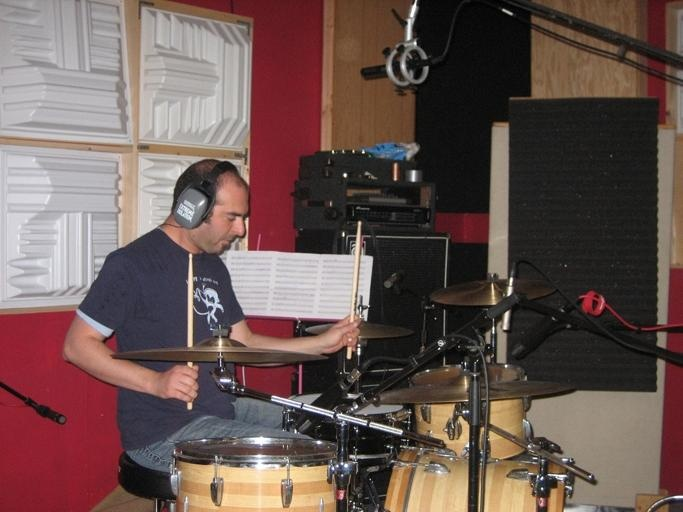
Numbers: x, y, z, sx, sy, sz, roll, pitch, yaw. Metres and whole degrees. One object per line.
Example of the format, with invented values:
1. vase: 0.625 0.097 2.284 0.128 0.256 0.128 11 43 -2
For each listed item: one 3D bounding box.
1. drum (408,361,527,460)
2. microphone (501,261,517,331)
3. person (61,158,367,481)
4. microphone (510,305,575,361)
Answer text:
1. drum: 0.651 0.782 4.044 0.533 0.370 0.561 -1 -7 0
2. microphone: 0.724 0.173 3.495 0.059 0.305 0.407 1 -2 12
3. person: -0.624 0.487 3.865 1.296 1.804 0.898 3 3 0
4. microphone: 1.032 0.395 4.110 0.121 0.411 0.112 43 -5 22
